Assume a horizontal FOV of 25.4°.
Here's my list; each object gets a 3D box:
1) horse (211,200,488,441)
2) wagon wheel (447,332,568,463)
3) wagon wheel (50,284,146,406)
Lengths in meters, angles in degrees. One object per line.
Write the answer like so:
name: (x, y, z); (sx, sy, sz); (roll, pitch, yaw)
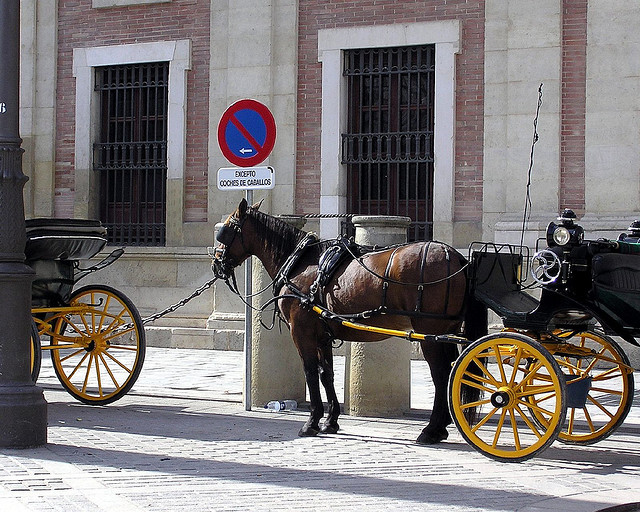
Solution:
horse: (0.368, 0.780, 15.761); (2.682, 2.243, 0.965); (-1, -1, 30)
wagon wheel: (1.834, 1.402, 14.110); (1.266, 1.314, 0.353); (0, -1, 30)
wagon wheel: (-2.729, 1.136, 17.482); (1.054, 1.064, 0.251); (-30, -18, 36)
